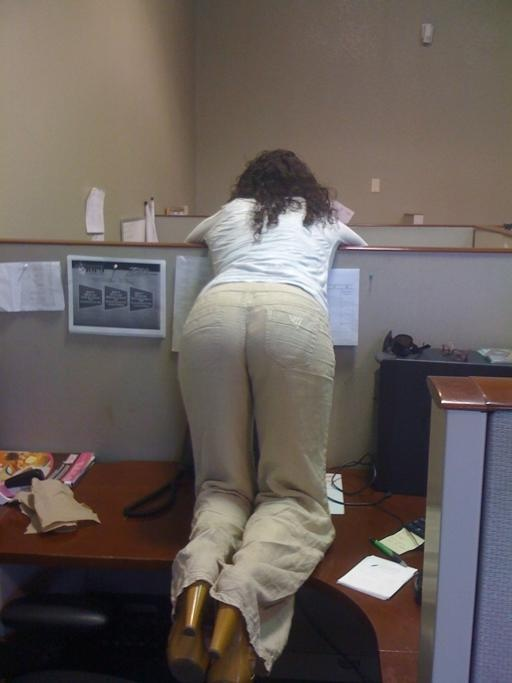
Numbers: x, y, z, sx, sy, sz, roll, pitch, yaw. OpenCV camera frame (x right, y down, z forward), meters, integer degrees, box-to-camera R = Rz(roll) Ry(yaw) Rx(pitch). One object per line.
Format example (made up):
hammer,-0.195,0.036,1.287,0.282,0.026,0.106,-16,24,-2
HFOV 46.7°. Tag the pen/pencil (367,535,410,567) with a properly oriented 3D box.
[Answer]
pen/pencil,0.268,0.426,1.215,0.016,0.018,0.122,-11,5,-15

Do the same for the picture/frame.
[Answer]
picture/frame,-0.360,-0.131,1.568,0.224,0.182,0.009,1,16,1
